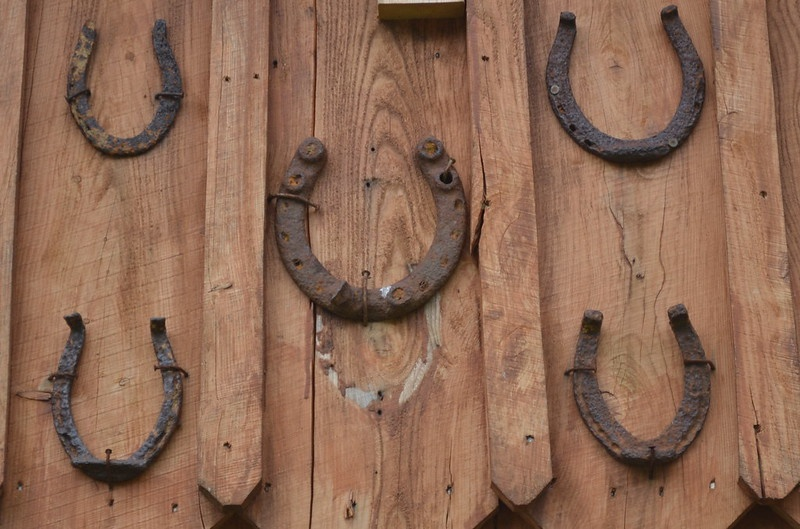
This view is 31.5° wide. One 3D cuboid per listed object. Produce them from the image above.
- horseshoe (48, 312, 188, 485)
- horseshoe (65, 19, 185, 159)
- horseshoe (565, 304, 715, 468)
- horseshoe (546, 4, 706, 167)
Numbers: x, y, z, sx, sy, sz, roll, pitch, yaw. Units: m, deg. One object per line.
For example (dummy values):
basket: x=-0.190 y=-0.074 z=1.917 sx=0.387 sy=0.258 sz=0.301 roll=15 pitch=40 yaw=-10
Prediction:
horseshoe: x=-0.869 y=0.440 z=4.381 sx=0.458 sy=0.101 sz=0.580 roll=-2 pitch=72 yaw=-1
horseshoe: x=-0.882 y=-0.544 z=4.551 sx=0.394 sy=0.055 sz=0.507 roll=-4 pitch=72 yaw=0
horseshoe: x=0.746 y=0.399 z=4.374 sx=0.446 sy=0.552 sz=0.097 roll=-1 pitch=-15 yaw=2
horseshoe: x=0.727 y=-0.550 z=4.522 sx=0.456 sy=0.525 sz=0.071 roll=-3 pitch=-13 yaw=3
